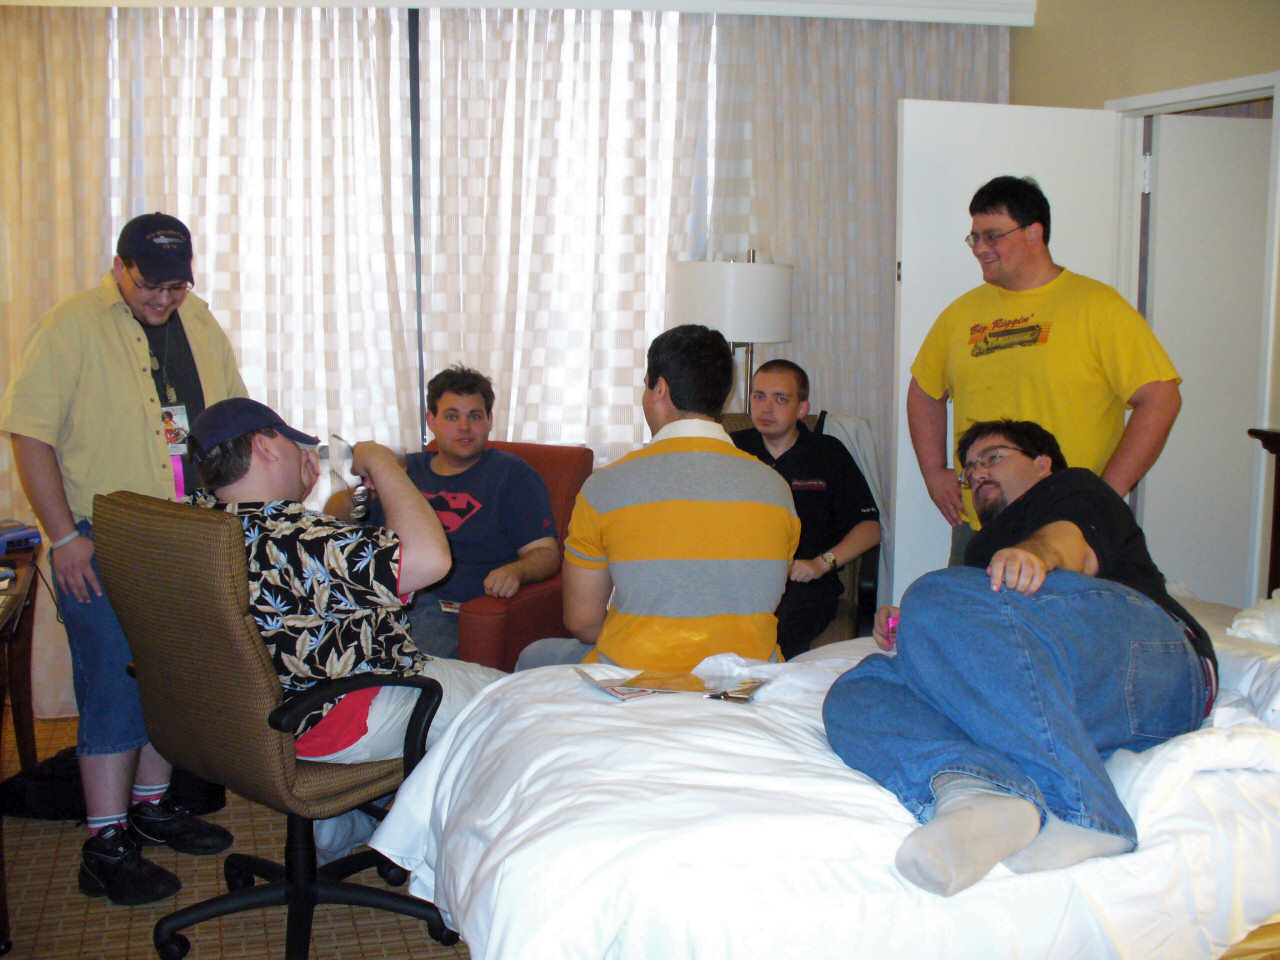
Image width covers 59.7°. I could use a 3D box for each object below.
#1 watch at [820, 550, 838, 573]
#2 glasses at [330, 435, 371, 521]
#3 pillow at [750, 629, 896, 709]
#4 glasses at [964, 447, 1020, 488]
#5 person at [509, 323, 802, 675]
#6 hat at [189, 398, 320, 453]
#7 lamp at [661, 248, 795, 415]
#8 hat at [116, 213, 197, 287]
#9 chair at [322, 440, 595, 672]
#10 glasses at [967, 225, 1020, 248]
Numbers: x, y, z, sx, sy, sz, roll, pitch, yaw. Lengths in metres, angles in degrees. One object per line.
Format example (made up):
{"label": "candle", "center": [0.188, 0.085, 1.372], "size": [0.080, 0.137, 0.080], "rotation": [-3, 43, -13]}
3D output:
{"label": "watch", "center": [0.616, 0.266, 3.612], "size": [0.043, 0.069, 0.069], "rotation": [4, 8, 1]}
{"label": "glasses", "center": [-0.986, -0.004, 3.787], "size": [0.101, 0.316, 0.228], "rotation": [-7, 19, -41]}
{"label": "pillow", "center": [0.452, 0.488, 2.838], "size": [0.274, 0.059, 0.161], "rotation": [-22, -2, -28]}
{"label": "glasses", "center": [0.906, -0.037, 2.898], "size": [0.097, 0.105, 0.049], "rotation": [-15, -7, 39]}
{"label": "person", "center": [0.054, 0.017, 3.155], "size": [0.804, 1.127, 0.795], "rotation": [-1, 6, -15]}
{"label": "hat", "center": [-1.003, -0.141, 2.853], "size": [0.247, 0.116, 0.158], "rotation": [0, -1, -29]}
{"label": "lamp", "center": [0.383, -0.681, 4.463], "size": [0.398, 0.668, 0.408], "rotation": [1, 3, 11]}
{"label": "hat", "center": [-1.450, -0.681, 3.365], "size": [0.246, 0.146, 0.172], "rotation": [36, 25, 30]}
{"label": "chair", "center": [-0.570, 0.228, 3.906], "size": [0.585, 0.836, 0.651], "rotation": [3, 5, 25]}
{"label": "glasses", "center": [1.091, -0.762, 3.470], "size": [0.074, 0.060, 0.170], "rotation": [-12, 15, -35]}
